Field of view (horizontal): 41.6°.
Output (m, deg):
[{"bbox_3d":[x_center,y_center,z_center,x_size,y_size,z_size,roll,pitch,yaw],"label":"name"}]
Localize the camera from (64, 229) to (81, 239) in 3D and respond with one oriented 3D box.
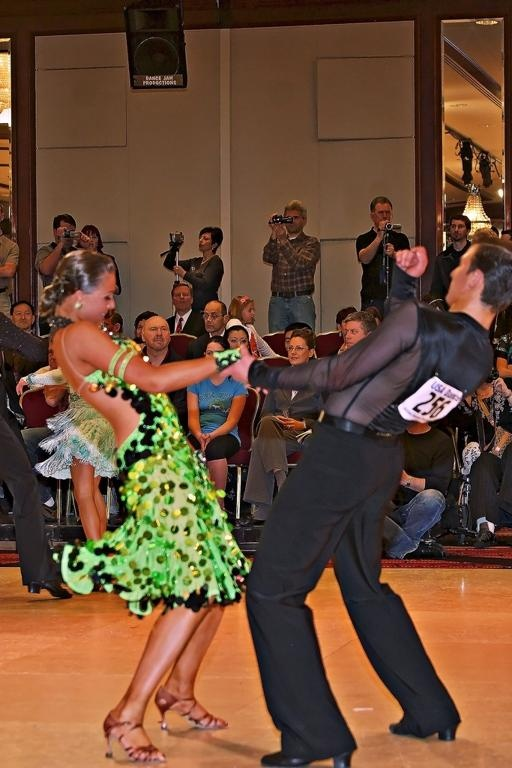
[{"bbox_3d":[-1.966,-1.580,7.143,0.118,0.072,0.112,-1,9,5],"label":"camera"}]
